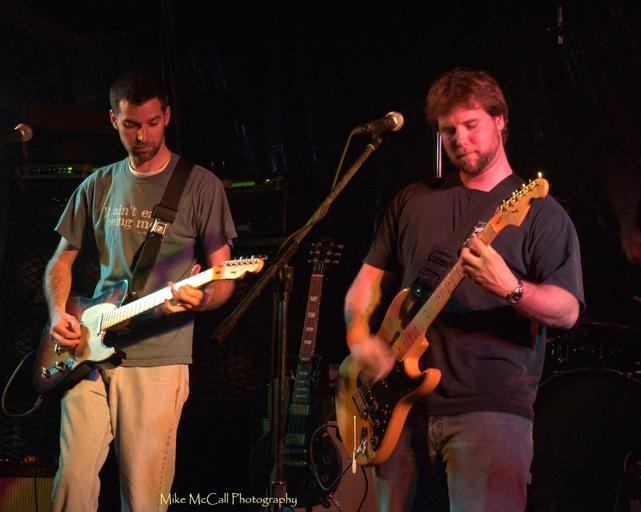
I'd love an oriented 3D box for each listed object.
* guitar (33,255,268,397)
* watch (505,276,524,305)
[{"bbox_3d":[-0.897,0.406,3.290,0.938,0.134,0.375,-25,48,10],"label":"guitar"},{"bbox_3d":[0.767,0.142,2.402,0.019,0.083,0.081,13,9,43],"label":"watch"}]
